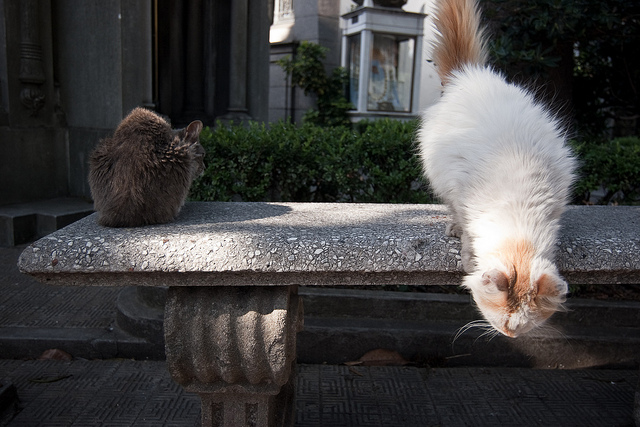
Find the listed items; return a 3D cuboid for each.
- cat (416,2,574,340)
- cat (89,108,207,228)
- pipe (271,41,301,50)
[{"bbox_3d":[1.221,-0.298,4.923,0.997,2.980,1.231,-4,-12,4],"label":"cat"},{"bbox_3d":[-1.382,-0.379,4.923,0.759,0.649,0.953,18,42,13],"label":"cat"},{"bbox_3d":[-0.886,-3.806,13.594,0.097,0.155,0.743,-12,20,-39],"label":"pipe"}]
